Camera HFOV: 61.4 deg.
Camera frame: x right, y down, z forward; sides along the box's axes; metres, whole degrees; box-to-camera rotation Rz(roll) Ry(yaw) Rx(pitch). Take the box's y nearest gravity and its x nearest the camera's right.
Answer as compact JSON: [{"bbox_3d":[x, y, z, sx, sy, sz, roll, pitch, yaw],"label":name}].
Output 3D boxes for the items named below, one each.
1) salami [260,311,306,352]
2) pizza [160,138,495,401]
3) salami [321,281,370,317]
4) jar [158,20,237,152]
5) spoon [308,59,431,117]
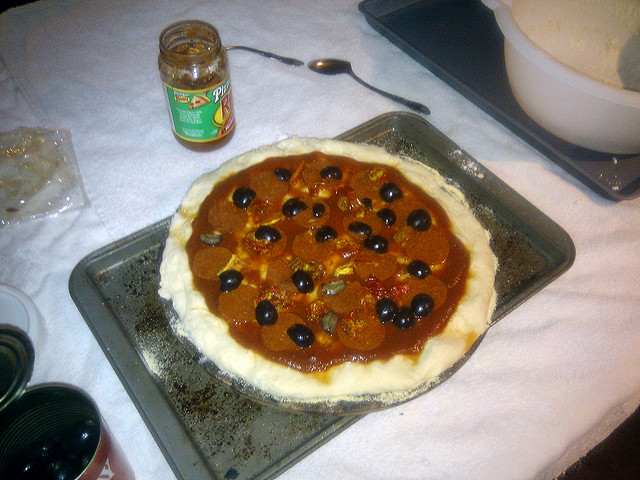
[{"bbox_3d":[-0.154,0.377,2.209,0.175,0.056,0.153,2,65,-2],"label":"salami"},{"bbox_3d":[0.040,0.096,2.351,1.455,0.224,1.168,7,65,1],"label":"pizza"},{"bbox_3d":[0.102,0.250,2.228,0.140,0.020,0.148,6,77,-4],"label":"salami"},{"bbox_3d":[-0.604,-0.760,2.672,0.334,0.577,0.458,-10,65,-6],"label":"jar"},{"bbox_3d":[0.268,-0.852,3.039,0.579,0.051,0.118,37,85,9],"label":"spoon"}]
